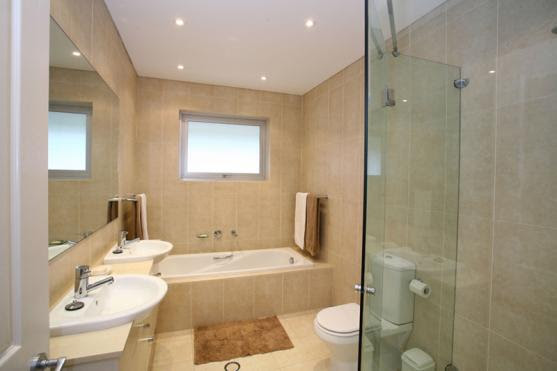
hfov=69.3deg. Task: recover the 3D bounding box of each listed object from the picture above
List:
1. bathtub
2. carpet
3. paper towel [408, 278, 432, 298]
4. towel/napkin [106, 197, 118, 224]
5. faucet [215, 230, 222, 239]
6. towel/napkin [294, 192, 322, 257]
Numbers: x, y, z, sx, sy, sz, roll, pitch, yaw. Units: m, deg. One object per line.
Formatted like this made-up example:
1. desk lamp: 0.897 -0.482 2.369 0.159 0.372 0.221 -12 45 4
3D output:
1. bathtub: -0.513 0.842 4.421 1.122 0.215 0.544 -1 1 -14
2. carpet: -0.345 1.352 3.583 0.855 0.024 0.605 -2 11 -17
3. paper towel: 0.717 0.505 2.081 0.085 0.100 0.113 0 2 -32
4. towel/napkin: -1.342 0.194 3.260 0.037 0.156 0.142 4 0 8
5. faucet: -0.689 0.552 4.557 0.094 0.092 0.049 -1 12 -13
6. towel/napkin: 0.330 0.435 4.463 0.099 0.636 0.708 0 2 -13
